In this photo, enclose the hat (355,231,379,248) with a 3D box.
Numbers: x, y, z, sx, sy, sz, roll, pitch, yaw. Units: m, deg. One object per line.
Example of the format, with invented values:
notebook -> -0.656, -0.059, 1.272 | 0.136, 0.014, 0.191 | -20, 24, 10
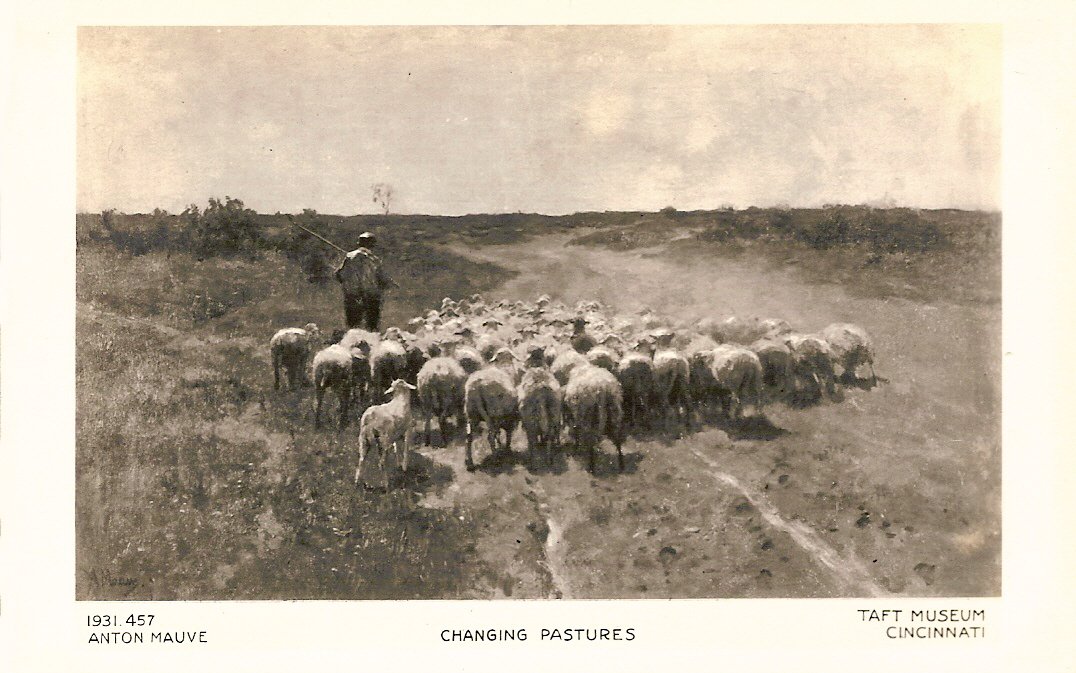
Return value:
hat -> -4.969, -2.812, 28.922 | 0.469, 0.352, 0.453 | -10, 14, -31
